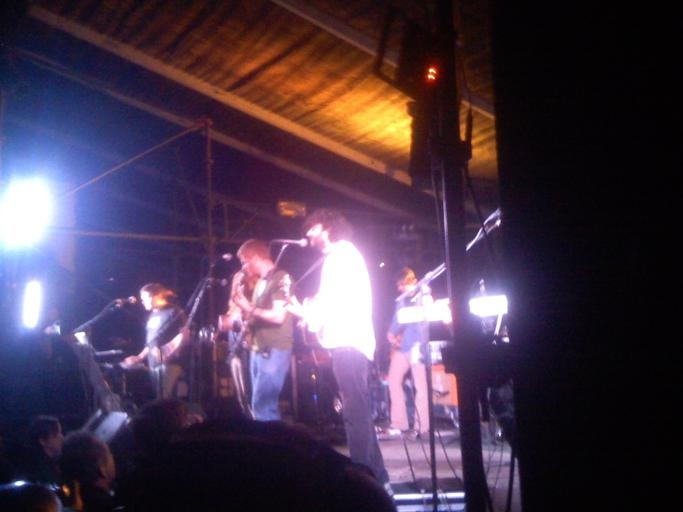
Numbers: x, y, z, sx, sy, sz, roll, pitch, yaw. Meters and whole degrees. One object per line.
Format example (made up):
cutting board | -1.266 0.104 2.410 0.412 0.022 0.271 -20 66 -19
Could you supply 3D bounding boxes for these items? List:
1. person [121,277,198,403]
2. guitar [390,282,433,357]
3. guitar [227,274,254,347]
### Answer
person | -2.380 1.108 8.180 0.786 1.402 2.006 9 -16 -20
guitar | 0.743 0.713 7.107 0.188 0.835 0.548 0 9 -41
guitar | -0.931 0.571 6.248 0.123 0.785 0.385 6 -2 -40
